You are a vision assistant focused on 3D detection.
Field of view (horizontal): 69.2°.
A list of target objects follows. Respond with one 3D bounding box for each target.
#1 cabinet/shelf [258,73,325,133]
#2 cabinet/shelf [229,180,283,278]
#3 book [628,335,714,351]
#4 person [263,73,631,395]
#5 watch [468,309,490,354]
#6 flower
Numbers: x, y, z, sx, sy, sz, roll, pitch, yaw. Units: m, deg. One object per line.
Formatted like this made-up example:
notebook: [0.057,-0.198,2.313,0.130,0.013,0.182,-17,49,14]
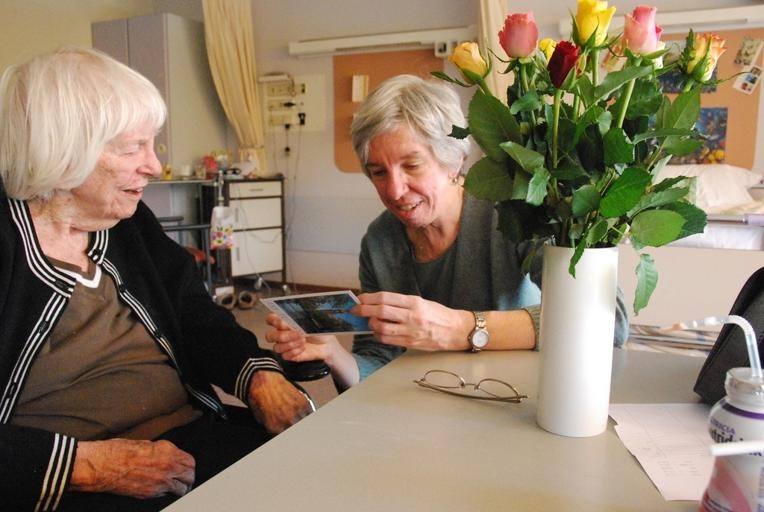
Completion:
cabinet/shelf: [-0.925,-1.606,5.796,0.684,0.583,0.221,3,13,20]
cabinet/shelf: [-1.230,-0.206,5.929,0.771,1.101,0.699,-2,-5,-4]
book: [1.258,0.377,2.396,0.316,0.029,0.051,0,36,13]
person: [0.132,-0.047,1.912,0.978,1.034,1.013,-11,0,10]
watch: [0.257,0.209,1.528,0.062,0.097,0.091,2,19,-8]
flower: [0.425,-0.190,1.353,0.674,0.640,0.610,2,9,23]
